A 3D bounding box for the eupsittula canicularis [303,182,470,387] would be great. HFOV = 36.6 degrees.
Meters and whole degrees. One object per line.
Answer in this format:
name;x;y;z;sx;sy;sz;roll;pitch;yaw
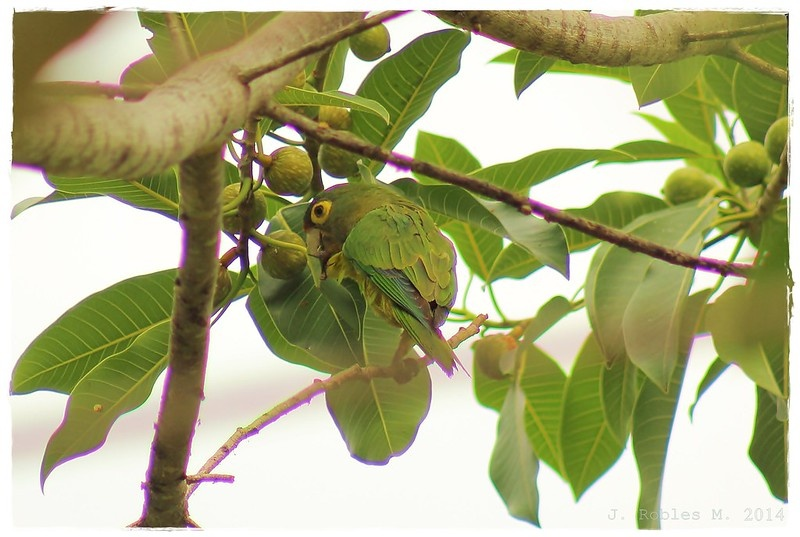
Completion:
eupsittula canicularis;-0.023;0.014;2.209;0.315;0.363;0.201;-2;-22;22
